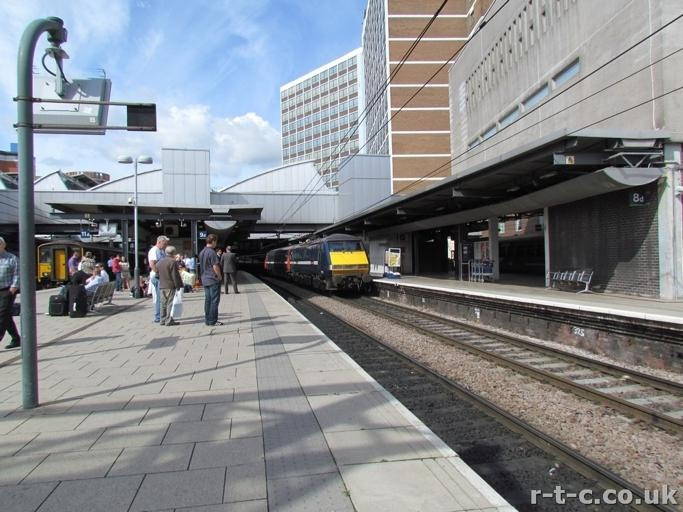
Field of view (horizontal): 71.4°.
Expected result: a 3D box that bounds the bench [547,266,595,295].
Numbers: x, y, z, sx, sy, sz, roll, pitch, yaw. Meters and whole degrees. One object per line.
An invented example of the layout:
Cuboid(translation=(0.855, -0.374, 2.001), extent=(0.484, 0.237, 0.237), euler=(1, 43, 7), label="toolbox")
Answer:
Cuboid(translation=(6.953, 0.708, 14.416), extent=(0.498, 0.663, 1.791), euler=(-1, 1, -6), label="bench")

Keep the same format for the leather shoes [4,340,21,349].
Cuboid(translation=(-5.799, 1.549, 8.298), extent=(0.102, 0.117, 0.299), euler=(-3, -9, 16), label="leather shoes")

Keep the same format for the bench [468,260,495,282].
Cuboid(translation=(5.382, 0.586, 18.616), extent=(0.946, 0.816, 0.782), euler=(0, 1, 28), label="bench")

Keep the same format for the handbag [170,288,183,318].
Cuboid(translation=(-3.502, 0.999, 10.045), extent=(0.189, 0.575, 0.497), euler=(-1, 1, -22), label="handbag")
